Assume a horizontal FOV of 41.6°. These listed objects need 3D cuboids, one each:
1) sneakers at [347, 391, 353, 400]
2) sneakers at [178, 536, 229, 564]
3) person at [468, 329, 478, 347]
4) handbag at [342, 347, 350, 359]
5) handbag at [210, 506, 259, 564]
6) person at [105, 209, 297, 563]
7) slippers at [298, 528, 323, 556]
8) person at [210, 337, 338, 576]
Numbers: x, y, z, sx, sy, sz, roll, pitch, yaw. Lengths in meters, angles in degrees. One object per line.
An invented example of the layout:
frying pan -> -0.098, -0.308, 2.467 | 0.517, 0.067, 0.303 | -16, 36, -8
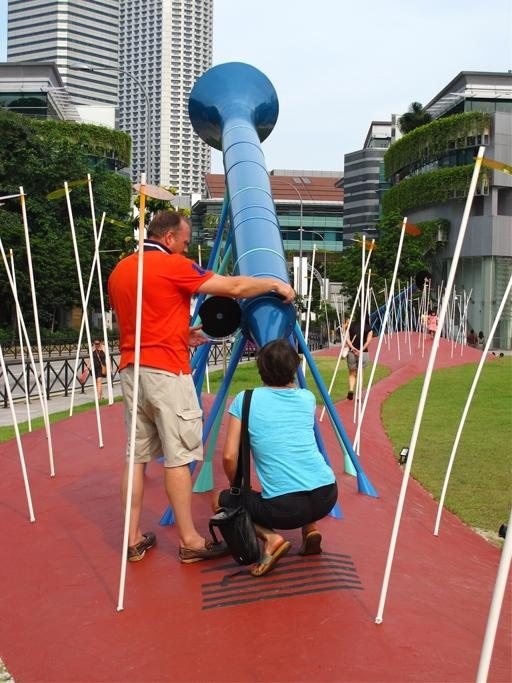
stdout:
sneakers -> 1.547, 0.916, 10.945 | 0.063, 0.195, 0.077 | -4, 34, -5
sneakers -> -0.274, 1.105, 3.601 | 0.271, 0.110, 0.103 | -4, 5, -22
person -> 12.573, 0.015, 38.815 | 0.589, 0.840, 1.506 | 2, 2, 16
handbag -> 1.543, 0.255, 11.532 | 0.197, 0.106, 0.342 | 0, -21, 0
handbag -> -0.099, 0.940, 3.284 | 0.156, 0.281, 0.257 | -21, -5, -30
person -> -0.271, 0.235, 3.717 | 0.982, 1.803, 0.814 | -1, 0, 0
slippers -> 0.288, 1.046, 3.523 | 0.070, 0.091, 0.207 | 0, -34, -7
person -> 0.101, 0.577, 3.356 | 0.611, 1.138, 0.364 | 1, 1, 3
